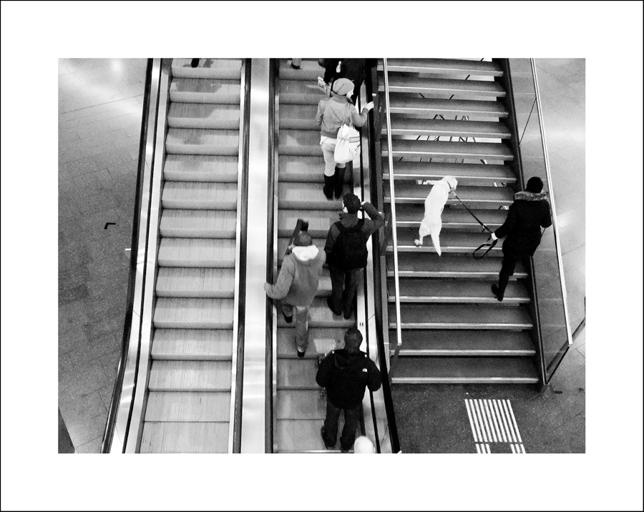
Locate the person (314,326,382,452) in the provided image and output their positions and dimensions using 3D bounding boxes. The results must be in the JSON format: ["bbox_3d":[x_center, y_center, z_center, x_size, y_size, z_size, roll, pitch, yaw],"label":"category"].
[{"bbox_3d":[0.304,1.567,6.856,0.722,0.646,1.914,7,-52,0],"label":"person"}]

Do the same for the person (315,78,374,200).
[{"bbox_3d":[0.284,-1.611,7.859,0.718,0.464,1.701,-1,-49,-6],"label":"person"}]

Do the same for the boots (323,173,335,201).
[{"bbox_3d":[0.101,-0.978,8.135,0.129,0.337,0.304,1,-18,-1],"label":"boots"}]

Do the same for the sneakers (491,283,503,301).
[{"bbox_3d":[2.506,0.510,8.236,0.104,0.189,0.289,-6,-96,6],"label":"sneakers"}]

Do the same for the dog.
[{"bbox_3d":[1.575,-0.553,8.014,0.260,0.533,1.090,8,-78,6],"label":"dog"}]

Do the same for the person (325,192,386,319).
[{"bbox_3d":[0.374,0.047,7.391,0.644,0.573,1.802,-11,-50,-19],"label":"person"}]

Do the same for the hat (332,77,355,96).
[{"bbox_3d":[0.263,-2.219,7.444,0.260,0.289,0.196,4,-57,-3],"label":"hat"}]

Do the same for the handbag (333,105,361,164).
[{"bbox_3d":[0.325,-1.496,7.517,0.289,0.242,0.516,8,-59,-5],"label":"handbag"}]

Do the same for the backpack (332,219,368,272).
[{"bbox_3d":[0.355,-0.144,7.143,0.431,0.377,0.671,-2,-67,7],"label":"backpack"}]
